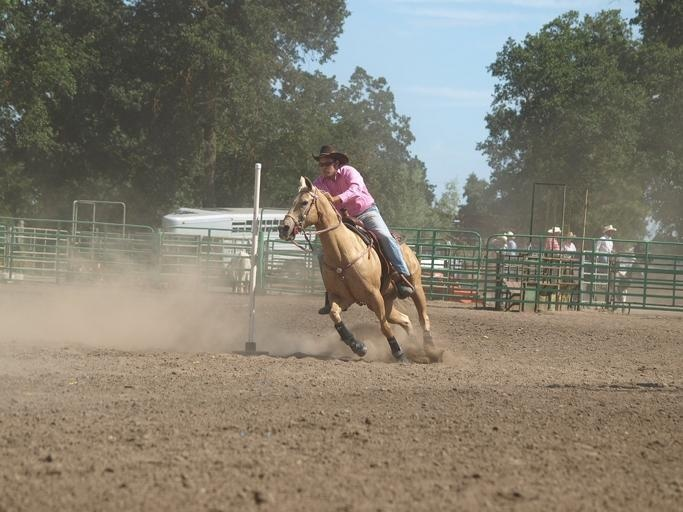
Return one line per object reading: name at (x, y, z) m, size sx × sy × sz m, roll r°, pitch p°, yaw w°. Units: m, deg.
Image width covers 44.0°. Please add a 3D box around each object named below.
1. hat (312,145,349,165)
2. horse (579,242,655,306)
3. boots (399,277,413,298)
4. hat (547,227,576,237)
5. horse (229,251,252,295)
hat at (-0.162, -2.258, 17.962) m, size 0.523 × 0.237 × 0.475 m, roll 7°, pitch -14°, yaw -27°
horse at (8.840, 0.672, 27.040) m, size 1.947 × 1.640 × 1.133 m, roll 2°, pitch -5°, yaw -17°
boots at (1.387, 0.679, 18.337) m, size 0.356 × 0.619 × 0.325 m, roll -1°, pitch 6°, yaw 14°
hat at (8.554, -0.944, 32.725) m, size 0.978 × 0.322 × 1.035 m, roll -1°, pitch -6°, yaw 31°
horse at (-3.314, 0.555, 27.454) m, size 0.651 × 1.330 × 1.907 m, roll -1°, pitch 11°, yaw -8°
